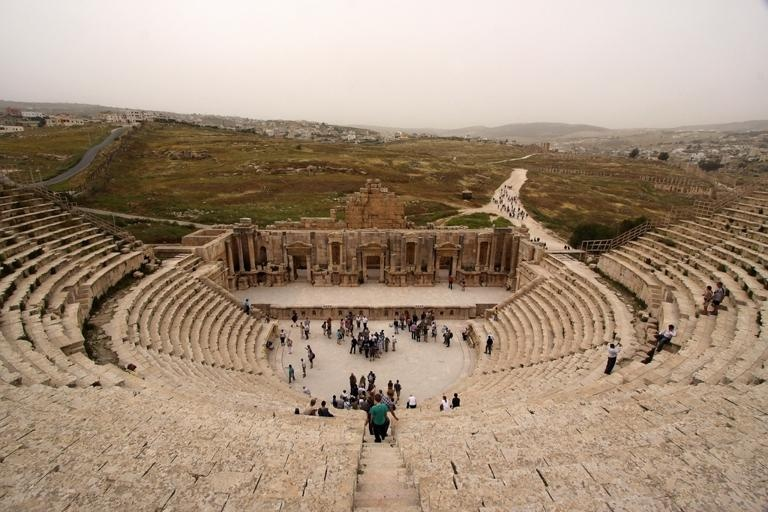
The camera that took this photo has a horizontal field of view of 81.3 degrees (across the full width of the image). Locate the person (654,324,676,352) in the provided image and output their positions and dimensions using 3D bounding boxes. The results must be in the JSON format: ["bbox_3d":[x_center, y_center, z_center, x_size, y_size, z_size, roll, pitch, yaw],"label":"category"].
[{"bbox_3d":[10.761,3.113,17.162,0.532,1.215,0.633,18,29,39],"label":"person"}]

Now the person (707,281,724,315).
[{"bbox_3d":[13.519,1.721,18.329,0.619,1.088,0.968,13,24,32],"label":"person"}]
